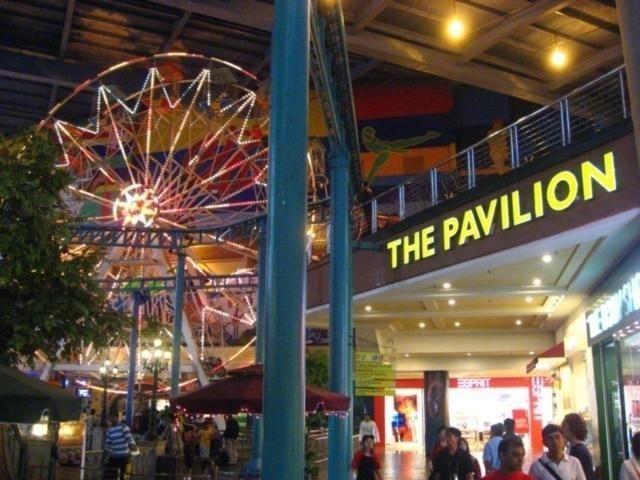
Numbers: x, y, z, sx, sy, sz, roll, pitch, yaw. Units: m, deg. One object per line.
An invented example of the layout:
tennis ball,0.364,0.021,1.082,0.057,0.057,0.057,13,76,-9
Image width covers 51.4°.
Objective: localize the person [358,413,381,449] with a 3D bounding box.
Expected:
person,1.675,6.463,22.549,0.704,1.126,0.345,-1,15,13
